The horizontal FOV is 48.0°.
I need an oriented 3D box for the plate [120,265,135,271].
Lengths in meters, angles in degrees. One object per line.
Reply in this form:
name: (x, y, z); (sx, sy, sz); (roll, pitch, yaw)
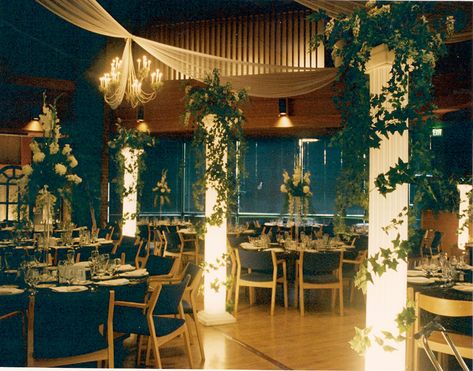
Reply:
plate: (-1.478, 1.111, 7.137); (0.095, 0.037, 0.107); (2, 0, 18)

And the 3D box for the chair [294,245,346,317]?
chair: (1.322, 1.601, 8.946); (0.828, 1.455, 0.938); (0, -2, 2)

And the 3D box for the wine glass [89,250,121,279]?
wine glass: (-1.711, 1.023, 6.808); (0.285, 0.258, 0.342); (1, -11, -3)

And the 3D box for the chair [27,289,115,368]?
chair: (-1.744, 1.499, 6.058); (0.782, 1.271, 0.828); (1, -1, -15)

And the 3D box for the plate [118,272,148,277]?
plate: (-1.320, 1.144, 6.838); (0.191, 0.031, 0.135); (-1, 1, -19)

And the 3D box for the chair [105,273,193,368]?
chair: (-1.021, 1.624, 6.745); (0.932, 1.532, 1.085); (-1, -5, 23)

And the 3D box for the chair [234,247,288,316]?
chair: (0.443, 1.539, 8.965); (0.886, 1.498, 0.956); (-1, 0, 24)

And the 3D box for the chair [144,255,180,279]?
chair: (-1.077, 1.168, 7.496); (0.272, 0.458, 0.392); (-1, -27, 9)
